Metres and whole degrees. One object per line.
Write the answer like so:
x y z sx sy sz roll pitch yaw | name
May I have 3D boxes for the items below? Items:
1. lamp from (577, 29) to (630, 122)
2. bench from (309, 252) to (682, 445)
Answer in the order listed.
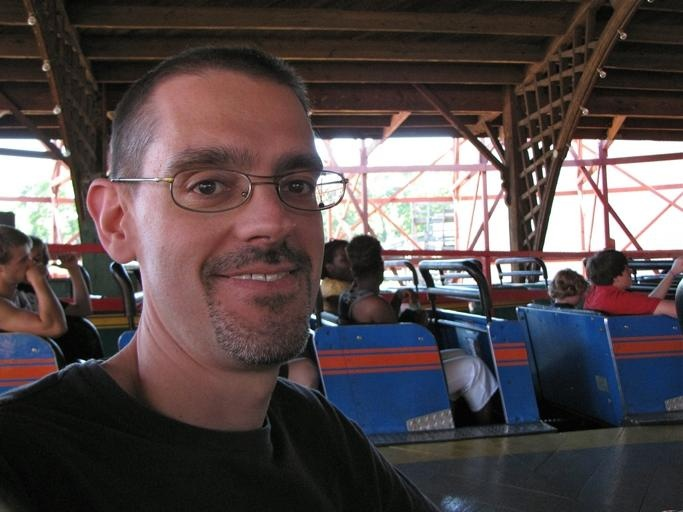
3.486 -2.414 7.719 0.194 1.124 0.196 32 -5 16 | lamp
0.592 0.586 3.343 1.401 0.532 1.330 0 -7 -11 | bench
